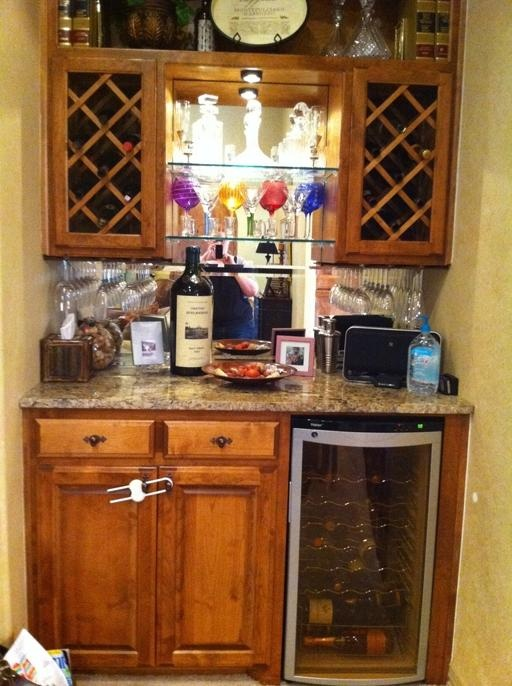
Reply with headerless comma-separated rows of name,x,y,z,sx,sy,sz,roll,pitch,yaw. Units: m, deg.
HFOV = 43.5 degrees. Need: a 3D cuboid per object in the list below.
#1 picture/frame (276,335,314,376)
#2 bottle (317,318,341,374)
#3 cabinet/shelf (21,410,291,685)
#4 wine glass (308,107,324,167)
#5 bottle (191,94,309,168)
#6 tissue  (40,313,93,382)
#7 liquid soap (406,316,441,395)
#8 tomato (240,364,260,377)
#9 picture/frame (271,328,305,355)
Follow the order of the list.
picture/frame,0.134,0.047,2.229,0.145,0.140,0.010,3,7,9
bottle,0.265,0.015,2.364,0.092,0.230,0.194,-1,6,1
cabinet/shelf,-0.314,0.575,1.908,0.907,0.941,0.380,0,5,-1
wine glass,0.205,-0.719,2.234,0.070,0.189,0.066,6,21,15
bottle,-0.029,-0.756,2.292,0.316,0.178,0.126,-1,20,-3
tissue ,-0.627,0.048,2.133,0.145,0.152,0.168,3,9,-3
liquid soap,0.543,0.039,2.081,0.104,0.250,0.154,2,10,13
tomato,-0.014,0.091,2.066,0.041,0.038,0.039,-1,5,-24
picture/frame,0.117,-0.004,2.316,0.109,0.086,0.007,2,6,9
